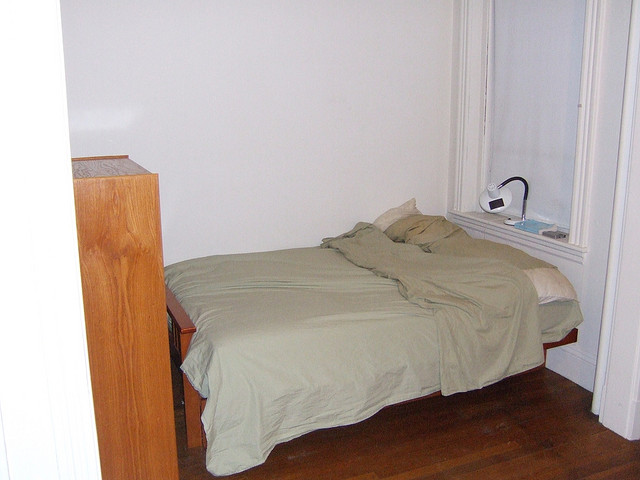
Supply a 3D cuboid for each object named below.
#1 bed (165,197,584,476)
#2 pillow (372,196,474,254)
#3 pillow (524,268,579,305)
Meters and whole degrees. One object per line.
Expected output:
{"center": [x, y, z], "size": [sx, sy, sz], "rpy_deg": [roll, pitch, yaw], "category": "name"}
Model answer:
{"center": [0.229, 0.457, 2.901], "size": [1.755, 0.679, 1.403], "rpy_deg": [-7, 22, -17], "category": "bed"}
{"center": [0.704, -0.122, 3.830], "size": [0.446, 0.160, 0.497], "rpy_deg": [-17, 35, -31], "category": "pillow"}
{"center": [1.412, 0.269, 3.182], "size": [0.216, 0.073, 0.253], "rpy_deg": [-1, 18, 2], "category": "pillow"}
